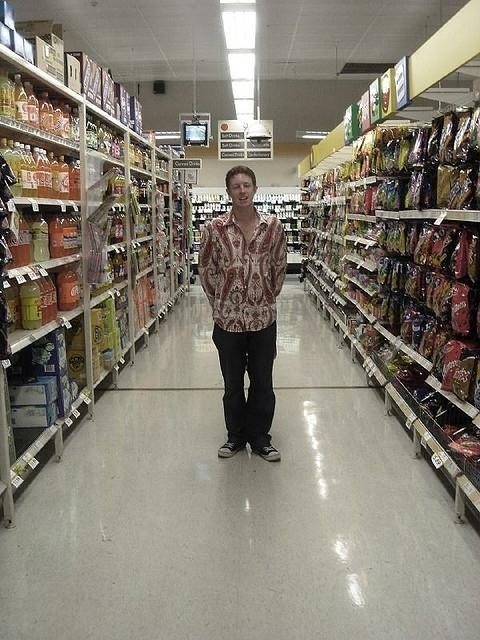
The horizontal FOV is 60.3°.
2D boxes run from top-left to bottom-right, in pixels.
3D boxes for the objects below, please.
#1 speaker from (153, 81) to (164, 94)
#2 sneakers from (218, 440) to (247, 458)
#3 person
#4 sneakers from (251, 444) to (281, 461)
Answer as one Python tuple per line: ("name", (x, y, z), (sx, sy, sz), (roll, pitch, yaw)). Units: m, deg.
("speaker", (-2.704, -7.826, 13.924), (0.266, 0.409, 0.086), (-2, 8, 0))
("sneakers", (-0.051, 0.828, 2.702), (0.066, 0.114, 0.213), (-3, -7, 36))
("person", (0.011, -0.017, 2.527), (0.518, 1.787, 0.486), (0, 1, -8))
("sneakers", (0.169, 0.816, 2.614), (0.069, 0.113, 0.206), (5, -7, -32))
